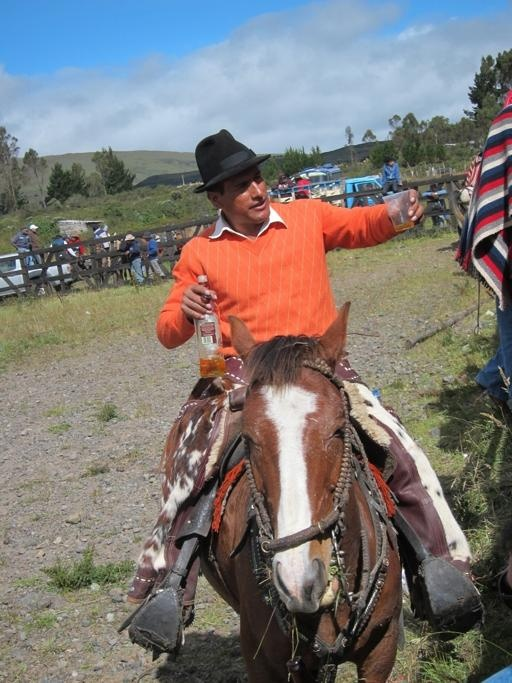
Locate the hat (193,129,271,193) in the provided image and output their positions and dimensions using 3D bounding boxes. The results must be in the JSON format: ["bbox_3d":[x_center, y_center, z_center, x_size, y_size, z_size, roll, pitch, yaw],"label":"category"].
[{"bbox_3d":[-0.182,-0.947,2.824,0.431,0.308,0.367,-2,12,17],"label":"hat"}]

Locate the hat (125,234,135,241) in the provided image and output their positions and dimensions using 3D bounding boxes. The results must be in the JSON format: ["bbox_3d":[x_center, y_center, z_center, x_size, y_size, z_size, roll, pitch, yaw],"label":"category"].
[{"bbox_3d":[-4.633,-3.826,20.215,0.323,0.261,0.575,-9,11,-16],"label":"hat"}]

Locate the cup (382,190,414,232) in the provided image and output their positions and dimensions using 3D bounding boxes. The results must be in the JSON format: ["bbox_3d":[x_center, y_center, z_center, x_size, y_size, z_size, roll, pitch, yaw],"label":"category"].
[{"bbox_3d":[0.641,-0.586,2.477,0.119,0.188,0.234,-4,11,13],"label":"cup"}]

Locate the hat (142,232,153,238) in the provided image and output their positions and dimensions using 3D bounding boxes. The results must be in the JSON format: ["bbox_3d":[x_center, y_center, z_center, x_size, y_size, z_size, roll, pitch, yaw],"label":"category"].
[{"bbox_3d":[-3.999,-3.932,20.354,0.303,0.186,0.384,-2,-3,0],"label":"hat"}]
